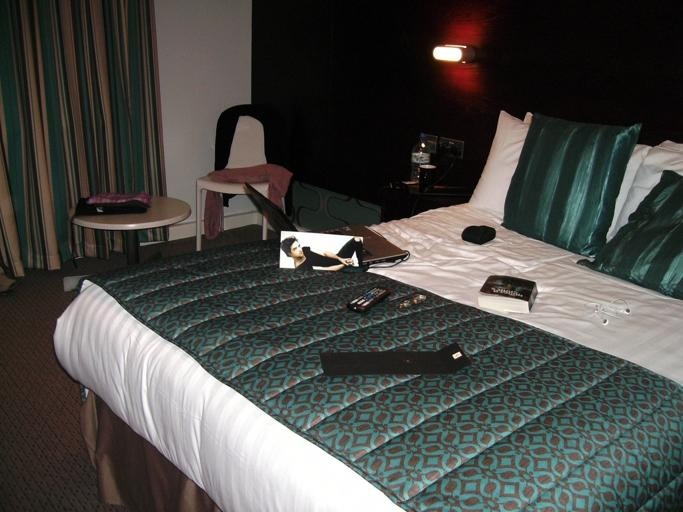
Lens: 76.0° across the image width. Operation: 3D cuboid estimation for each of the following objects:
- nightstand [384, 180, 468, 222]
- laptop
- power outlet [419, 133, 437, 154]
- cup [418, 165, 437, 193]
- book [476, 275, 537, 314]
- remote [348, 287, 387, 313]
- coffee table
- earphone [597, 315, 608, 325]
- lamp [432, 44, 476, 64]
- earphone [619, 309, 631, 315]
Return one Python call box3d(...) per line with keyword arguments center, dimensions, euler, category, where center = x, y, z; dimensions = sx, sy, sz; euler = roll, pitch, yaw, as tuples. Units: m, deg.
box3d(center=(0.544, -0.369, 2.870), dimensions=(0.438, 0.418, 0.283), euler=(-4, 22, -11), category="nightstand")
box3d(center=(-0.046, -0.080, 1.870), dimensions=(0.509, 0.314, 0.467), euler=(-13, 27, -18), category="laptop")
box3d(center=(0.617, -0.811, 3.118), dimensions=(0.080, 0.142, 0.148), euler=(-8, 16, -35), category="power outlet")
box3d(center=(0.545, -0.515, 2.824), dimensions=(0.107, 0.143, 0.198), euler=(6, 23, 10), category="cup")
box3d(center=(0.576, 0.130, 1.528), dimensions=(0.139, 0.040, 0.148), euler=(9, 29, 21), category="book")
box3d(center=(0.094, 0.137, 1.481), dimensions=(0.059, 0.023, 0.134), euler=(12, 22, 32), category="remote")
box3d(center=(-1.436, -0.261, 2.978), dimensions=(0.607, 0.452, 0.614), euler=(7, 22, 16), category="coffee table")
box3d(center=(0.880, 0.213, 1.464), dimensions=(0.025, 0.039, 0.024), euler=(-6, 3, -30), category="earphone")
box3d(center=(0.734, -1.321, 2.829), dimensions=(0.247, 0.105, 0.133), euler=(-12, 27, -29), category="lamp")
box3d(center=(0.990, 0.191, 1.526), dimensions=(0.034, 0.016, 0.014), euler=(-14, -2, 7), category="earphone")
